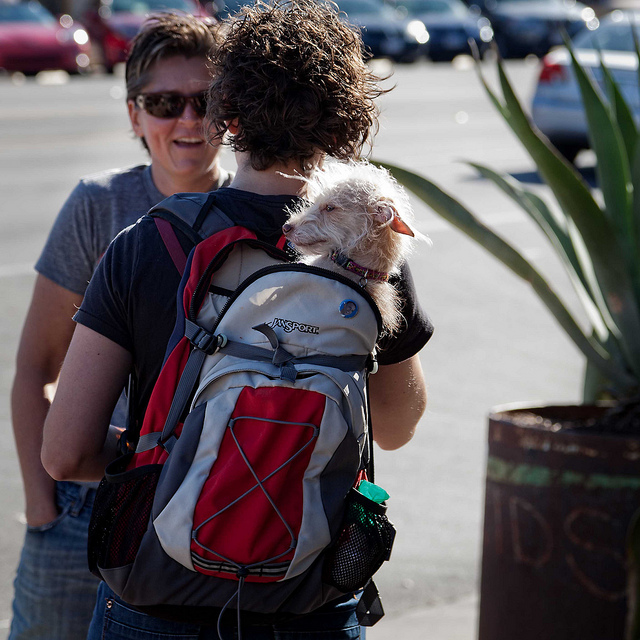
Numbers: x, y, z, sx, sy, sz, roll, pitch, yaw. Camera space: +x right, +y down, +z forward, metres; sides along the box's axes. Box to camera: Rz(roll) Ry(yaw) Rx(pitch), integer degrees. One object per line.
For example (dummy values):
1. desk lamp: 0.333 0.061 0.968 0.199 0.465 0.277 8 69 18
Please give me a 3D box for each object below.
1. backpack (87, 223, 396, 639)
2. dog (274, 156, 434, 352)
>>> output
1. backpack: -0.165 0.263 1.804 0.635 0.877 0.385 -2 18 -14
2. dog: 0.049 -0.161 1.966 0.341 0.401 0.297 11 -5 -4
